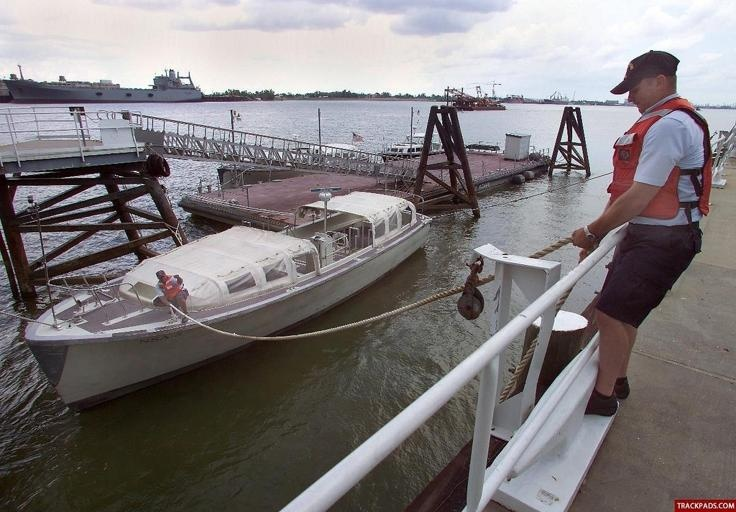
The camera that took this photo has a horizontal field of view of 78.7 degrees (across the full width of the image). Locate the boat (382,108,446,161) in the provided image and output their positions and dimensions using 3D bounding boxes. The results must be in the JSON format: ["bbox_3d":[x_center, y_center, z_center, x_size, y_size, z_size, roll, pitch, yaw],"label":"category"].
[{"bbox_3d":[4.641,-11.053,41.913,3.076,4.137,9.800,21,28,33],"label":"boat"}]

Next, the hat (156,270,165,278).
[{"bbox_3d":[-4.644,0.406,10.004,0.146,0.182,0.305,-13,20,-27],"label":"hat"}]

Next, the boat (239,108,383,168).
[{"bbox_3d":[-4.822,-8.804,35.042,12.690,4.056,3.497,3,10,4],"label":"boat"}]

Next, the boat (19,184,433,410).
[{"bbox_3d":[-2.418,0.873,13.892,4.453,2.893,12.969,12,22,41],"label":"boat"}]

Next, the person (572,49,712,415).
[{"bbox_3d":[2.560,-0.095,4.226,0.934,3.441,1.298,10,24,34],"label":"person"}]

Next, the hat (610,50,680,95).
[{"bbox_3d":[2.721,-1.785,4.340,0.638,0.336,0.402,1,22,43],"label":"hat"}]

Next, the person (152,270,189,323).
[{"bbox_3d":[-4.387,0.870,10.186,0.619,1.200,0.704,-17,23,-34],"label":"person"}]
